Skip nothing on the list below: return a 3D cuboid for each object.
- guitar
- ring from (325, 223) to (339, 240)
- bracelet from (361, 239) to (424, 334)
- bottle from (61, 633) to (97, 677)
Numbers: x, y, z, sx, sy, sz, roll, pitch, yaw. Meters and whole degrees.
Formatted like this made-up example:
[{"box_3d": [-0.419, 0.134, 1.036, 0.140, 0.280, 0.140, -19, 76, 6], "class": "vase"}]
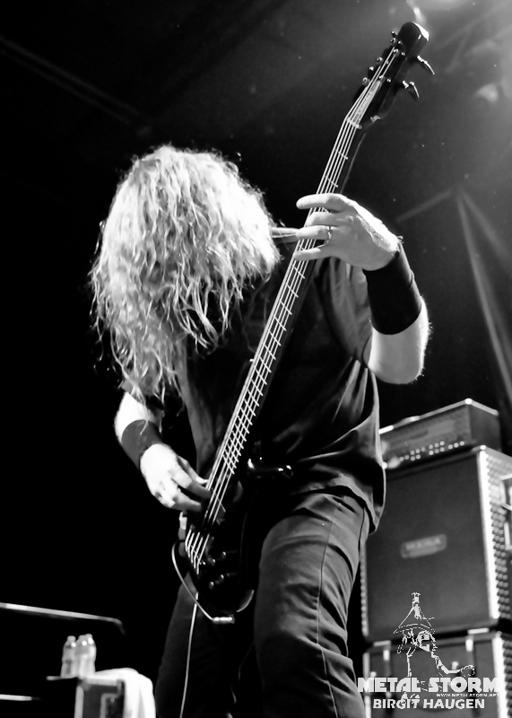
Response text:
[{"box_3d": [0.007, 0.123, 1.655, 0.129, 1.702, 0.451, 12, 18, -7], "class": "guitar"}, {"box_3d": [0.134, -0.227, 1.361, 0.011, 0.035, 0.008, 19, 0, -15], "class": "ring"}, {"box_3d": [0.264, -0.142, 1.482, 0.034, 0.179, 0.115, -3, -21, -3], "class": "bracelet"}, {"box_3d": [-0.388, 0.660, 1.703, 0.066, 0.084, 0.105, 16, -27, -33], "class": "bottle"}]
